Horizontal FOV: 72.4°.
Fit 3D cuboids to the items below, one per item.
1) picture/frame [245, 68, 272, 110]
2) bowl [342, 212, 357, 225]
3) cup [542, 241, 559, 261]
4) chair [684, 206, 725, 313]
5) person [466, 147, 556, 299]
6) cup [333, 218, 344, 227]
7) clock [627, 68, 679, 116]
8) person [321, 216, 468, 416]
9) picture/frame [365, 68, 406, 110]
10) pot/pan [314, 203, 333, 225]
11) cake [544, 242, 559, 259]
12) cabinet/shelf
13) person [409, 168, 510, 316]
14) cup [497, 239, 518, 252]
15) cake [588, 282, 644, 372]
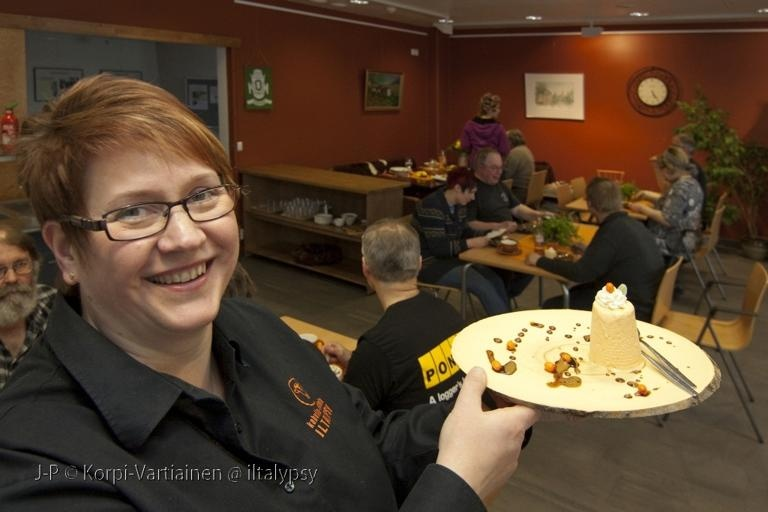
[{"bbox_3d":[-1.878,-2.513,7.776,0.090,0.691,0.590,5,11,26],"label":"picture/frame"},{"bbox_3d":[-0.443,-0.516,6.773,0.137,0.113,0.162,1,14,26],"label":"bowl"},{"bbox_3d":[1.490,-0.057,4.724,0.133,0.164,0.142,-2,15,0],"label":"cup"},{"bbox_3d":[3.804,-0.113,6.552,0.609,1.009,0.552,5,15,32],"label":"chair"},{"bbox_3d":[1.361,-0.336,5.898,0.859,1.700,0.627,1,13,22],"label":"person"},{"bbox_3d":[-0.572,-0.449,6.753,0.096,0.089,0.107,1,0,-12],"label":"cup"},{"bbox_3d":[4.844,-2.962,9.549,0.837,0.884,0.195,29,-8,25],"label":"clock"},{"bbox_3d":[0.098,0.313,3.296,0.669,1.316,0.702,-23,34,-33],"label":"person"},{"bbox_3d":[-0.009,-3.249,10.201,0.042,0.711,0.997,16,20,43],"label":"picture/frame"},{"bbox_3d":[-0.782,-0.574,6.947,0.216,0.322,0.321,1,7,12],"label":"pot/pan"},{"bbox_3d":[1.494,-0.053,4.721,0.113,0.204,0.130,0,10,6],"label":"cake"},{"bbox_3d":[-0.807,-0.330,6.245,1.509,0.946,0.594,11,15,36],"label":"cabinet/shelf"},{"bbox_3d":[0.817,-0.017,5.303,1.115,1.740,0.730,10,16,35],"label":"person"},{"bbox_3d":[1.129,-0.107,4.840,0.115,0.060,0.125,-1,6,0],"label":"cup"},{"bbox_3d":[0.716,0.205,1.639,0.166,0.247,0.185,-5,22,20],"label":"cake"}]
